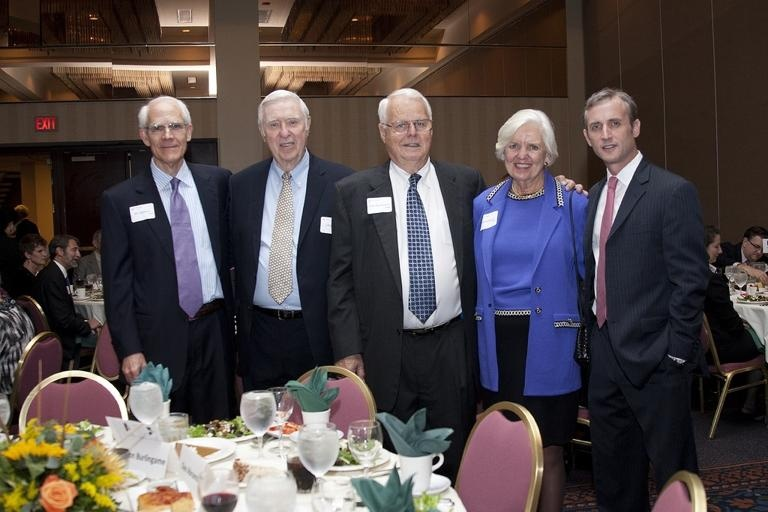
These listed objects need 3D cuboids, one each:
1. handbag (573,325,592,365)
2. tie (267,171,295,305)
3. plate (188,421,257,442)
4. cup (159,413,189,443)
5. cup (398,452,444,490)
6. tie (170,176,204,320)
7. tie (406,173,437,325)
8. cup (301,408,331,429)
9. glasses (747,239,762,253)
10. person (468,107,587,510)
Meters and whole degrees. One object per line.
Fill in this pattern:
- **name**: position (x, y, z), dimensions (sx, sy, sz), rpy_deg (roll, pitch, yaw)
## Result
- **handbag**: position (1.143, 0.513, 3.511), dimensions (0.102, 0.213, 0.045), rpy_deg (1, -8, 2)
- **tie**: position (-0.649, -0.123, 3.871), dimensions (0.162, 0.788, 0.247), rpy_deg (-1, 6, -5)
- **plate**: position (-0.776, 0.818, 2.926), dimensions (0.298, 0.058, 0.207), rpy_deg (-1, 8, -1)
- **cup**: position (-0.956, 0.768, 2.817), dimensions (0.098, 0.129, 0.103), rpy_deg (0, 6, 0)
- **cup**: position (0.145, 0.885, 2.516), dimensions (0.181, 0.167, 0.162), rpy_deg (-4, -7, 24)
- **tie**: position (-1.251, -0.055, 3.852), dimensions (0.147, 0.855, 0.246), rpy_deg (-4, 7, -29)
- **tie**: position (0.219, -0.052, 3.621), dimensions (0.167, 0.837, 0.225), rpy_deg (0, 6, 2)
- **cup**: position (-0.302, 0.739, 2.740), dimensions (0.118, 0.067, 0.209), rpy_deg (-2, 8, -8)
- **glasses**: position (4.122, -0.114, 6.821), dimensions (0.102, 0.040, 0.124), rpy_deg (1, 42, -1)
- **person**: position (0.860, 0.110, 3.633), dimensions (0.674, 1.915, 0.417), rpy_deg (1, 6, 11)
